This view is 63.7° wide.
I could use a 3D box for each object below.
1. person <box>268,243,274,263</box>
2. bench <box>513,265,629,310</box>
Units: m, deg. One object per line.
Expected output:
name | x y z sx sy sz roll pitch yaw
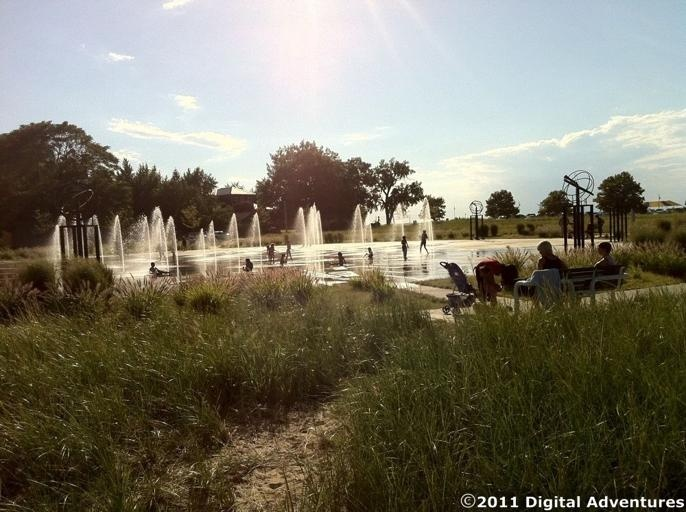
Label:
person | -3.730 -0.125 28.665 0.286 0.961 1.286 -2 0 -12
bench | 3.726 0.570 9.123 1.851 0.833 0.609 -3 6 -15
